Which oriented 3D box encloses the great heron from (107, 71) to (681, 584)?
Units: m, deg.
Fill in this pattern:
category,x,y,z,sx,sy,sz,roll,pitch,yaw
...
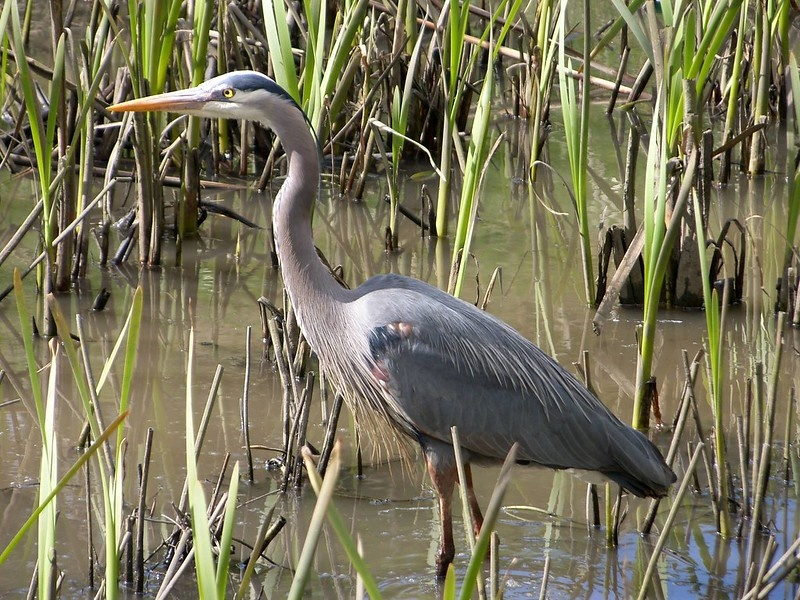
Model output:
category,x,y,z,sx,sy,sz,roll,pitch,yaw
great heron,0.116,0.104,4.893,2.087,2.057,0.465,4,5,18
